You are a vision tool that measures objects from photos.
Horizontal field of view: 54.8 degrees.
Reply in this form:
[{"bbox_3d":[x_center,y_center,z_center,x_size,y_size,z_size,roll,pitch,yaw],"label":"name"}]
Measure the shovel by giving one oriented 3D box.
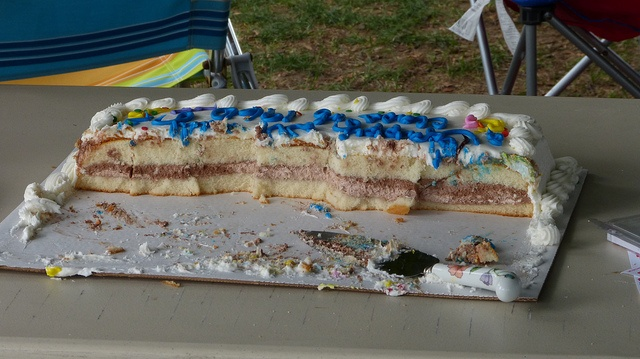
[{"bbox_3d":[0.428,0.386,2.868,1.039,0.136,0.239,12,25,24],"label":"shovel"}]
